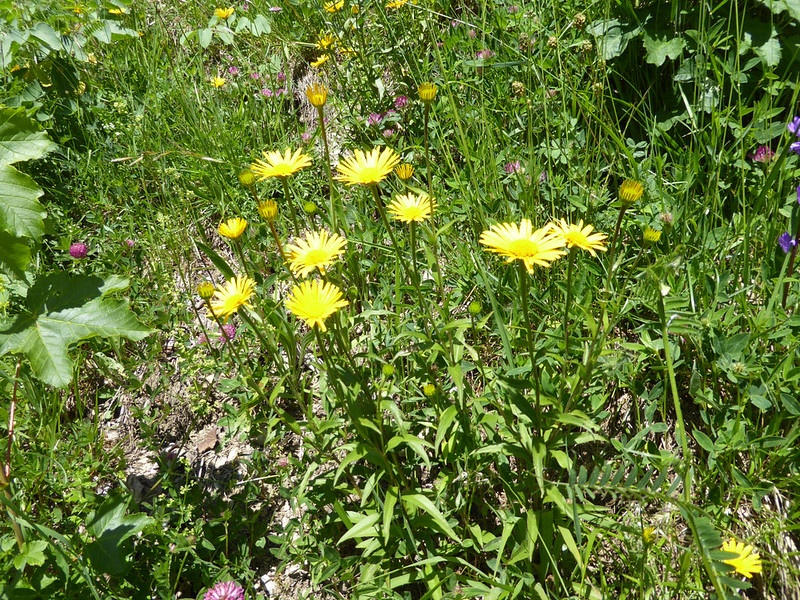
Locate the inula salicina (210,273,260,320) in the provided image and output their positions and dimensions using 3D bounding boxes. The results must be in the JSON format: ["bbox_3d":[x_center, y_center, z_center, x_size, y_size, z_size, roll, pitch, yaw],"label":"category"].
[{"bbox_3d":[-0.671,0.037,2.769,0.202,0.060,0.194,-47,47,-4],"label":"inula salicina"}]

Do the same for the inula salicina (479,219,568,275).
[{"bbox_3d":[0.478,-0.224,2.439,0.240,0.094,0.242,-27,48,-28],"label":"inula salicina"}]

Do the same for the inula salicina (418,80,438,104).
[{"bbox_3d":[0.105,-0.834,2.678,0.092,0.097,0.107,-7,25,-11],"label":"inula salicina"}]

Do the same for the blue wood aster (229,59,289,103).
[{"bbox_3d":[-0.971,-1.519,4.538,0.367,0.133,0.455,5,48,-18],"label":"blue wood aster"}]

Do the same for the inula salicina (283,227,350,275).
[{"bbox_3d":[-0.362,-0.193,2.728,0.214,0.071,0.210,-37,54,-13],"label":"inula salicina"}]

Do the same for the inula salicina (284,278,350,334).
[{"bbox_3d":[-0.330,-0.004,2.530,0.162,0.260,0.171,-6,16,-15],"label":"inula salicina"}]
